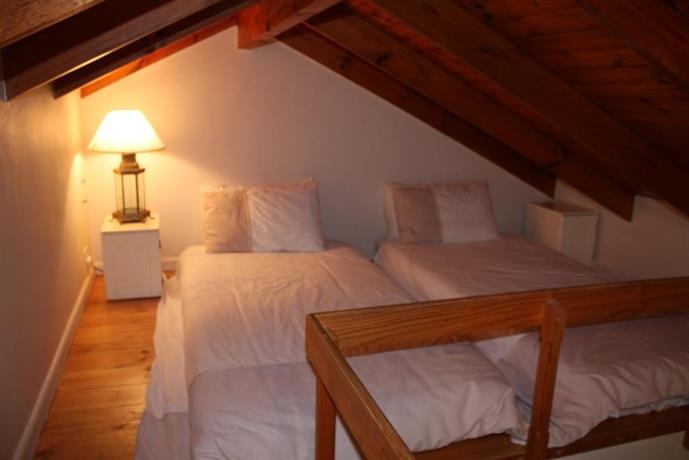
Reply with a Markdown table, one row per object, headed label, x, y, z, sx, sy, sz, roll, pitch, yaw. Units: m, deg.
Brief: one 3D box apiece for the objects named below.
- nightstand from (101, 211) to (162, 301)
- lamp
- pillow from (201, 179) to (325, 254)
| label | x | y | z | sx | sy | sz | roll | pitch | yaw |
| --- | --- | --- | --- | --- | --- | --- | --- | --- | --- |
| nightstand | -1.743 | 0.201 | 4.170 | 0.425 | 0.539 | 0.577 | -3 | 16 | -20 |
| lamp | -1.675 | -0.498 | 4.021 | 0.530 | 0.869 | 0.403 | -5 | 14 | -12 |
| pillow | -0.647 | -0.083 | 3.727 | 0.830 | 0.550 | 0.222 | -4 | -6 | -4 |
